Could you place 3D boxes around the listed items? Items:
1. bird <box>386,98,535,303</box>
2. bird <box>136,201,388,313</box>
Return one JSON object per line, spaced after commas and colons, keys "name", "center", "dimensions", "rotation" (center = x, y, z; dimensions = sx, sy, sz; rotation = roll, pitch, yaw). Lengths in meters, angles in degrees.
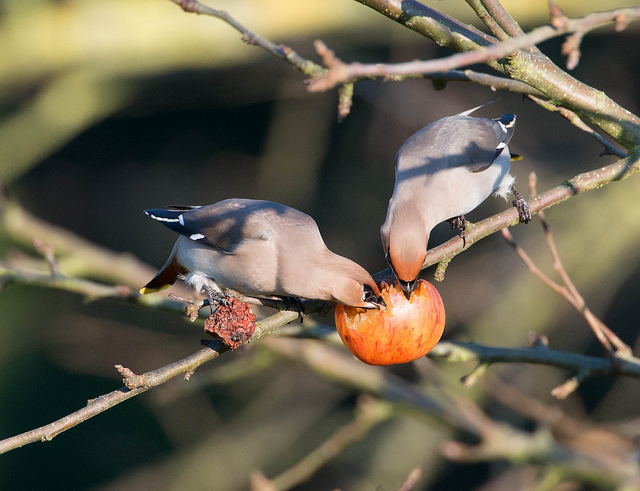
{"name": "bird", "center": [0.914, -0.235, 4.739], "dimensions": [1.100, 1.482, 0.407], "rotation": [0, 6, -44]}
{"name": "bird", "center": [-0.294, 0.078, 4.028], "dimensions": [1.604, 0.533, 0.401], "rotation": [7, 22, 31]}
